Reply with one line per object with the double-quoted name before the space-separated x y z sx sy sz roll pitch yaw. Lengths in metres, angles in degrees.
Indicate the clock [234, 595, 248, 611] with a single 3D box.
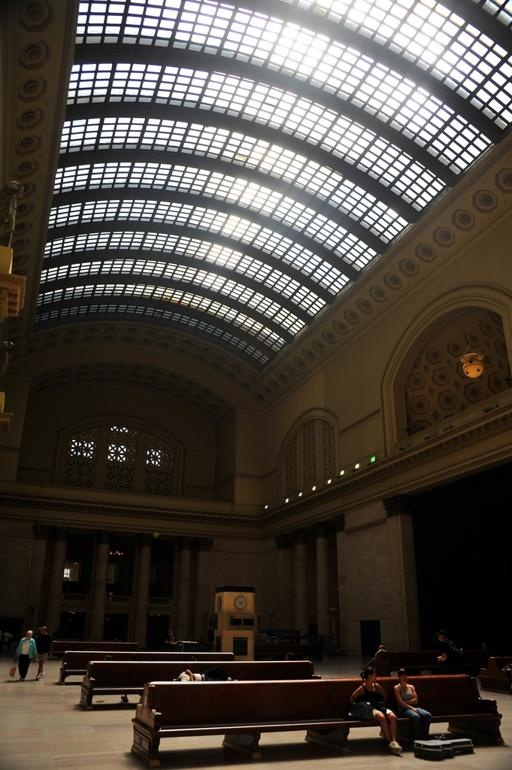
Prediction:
"clock" -0.512 7.406 17.417 0.459 0.452 0.117 13 -25 -33
